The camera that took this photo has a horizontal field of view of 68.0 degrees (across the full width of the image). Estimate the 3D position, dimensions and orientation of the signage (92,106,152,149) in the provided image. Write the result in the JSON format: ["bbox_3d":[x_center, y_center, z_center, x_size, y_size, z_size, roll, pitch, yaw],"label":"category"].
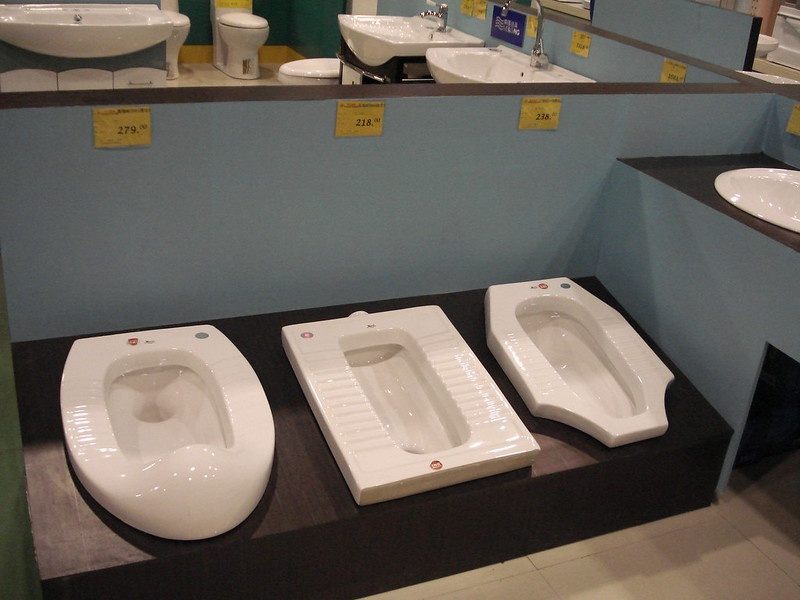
[{"bbox_3d":[-0.671,-0.416,1.417,0.108,0.078,0.014,-4,31,-17],"label":"signage"}]

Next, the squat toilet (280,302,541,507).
[{"bbox_3d":[-0.008,0.251,1.540,0.499,0.127,0.572,-3,38,-23],"label":"squat toilet"}]

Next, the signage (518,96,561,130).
[{"bbox_3d":[0.412,-0.566,1.785,0.111,0.081,0.011,-4,37,-8],"label":"signage"}]

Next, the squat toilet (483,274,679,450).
[{"bbox_3d":[0.493,0.182,1.728,0.444,0.156,0.592,-5,42,-20],"label":"squat toilet"}]

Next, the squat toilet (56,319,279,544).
[{"bbox_3d":[-0.542,0.293,1.382,0.443,0.227,0.566,-4,38,-32],"label":"squat toilet"}]
